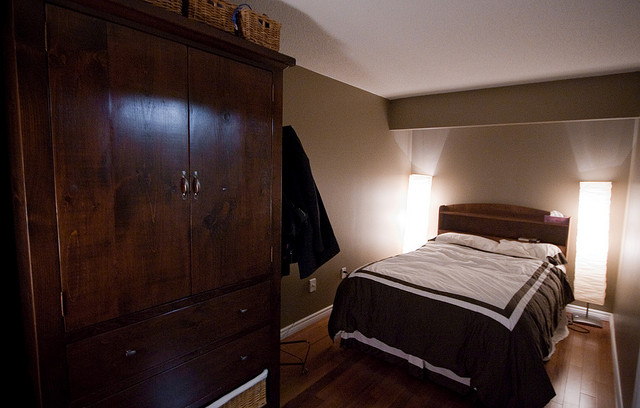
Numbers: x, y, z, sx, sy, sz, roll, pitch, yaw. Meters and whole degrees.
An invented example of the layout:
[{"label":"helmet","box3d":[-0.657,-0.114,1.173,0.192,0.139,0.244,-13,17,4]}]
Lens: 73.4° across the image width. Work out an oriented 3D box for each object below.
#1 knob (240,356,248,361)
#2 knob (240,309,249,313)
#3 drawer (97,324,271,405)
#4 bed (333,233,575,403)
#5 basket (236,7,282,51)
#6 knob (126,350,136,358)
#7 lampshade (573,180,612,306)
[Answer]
[{"label":"knob","box3d":[-0.560,1.139,3.196,0.032,0.027,0.027,1,-6,-13]},{"label":"knob","box3d":[-0.560,0.778,3.171,0.047,0.012,0.034,0,1,-43]},{"label":"drawer","box3d":[-0.973,1.086,2.941,0.654,0.176,0.737,0,1,41]},{"label":"bed","box3d":[1.485,0.989,4.582,1.874,0.962,2.045,6,6,34]},{"label":"basket","box3d":[-0.442,-1.210,3.101,0.315,0.193,0.224,7,1,-43]},{"label":"knob","box3d":[-1.230,0.960,2.791,0.055,0.053,0.014,10,-7,-30]},{"label":"lampshade","box3d":[3.045,0.421,4.828,0.309,1.349,0.143,5,6,25]}]
